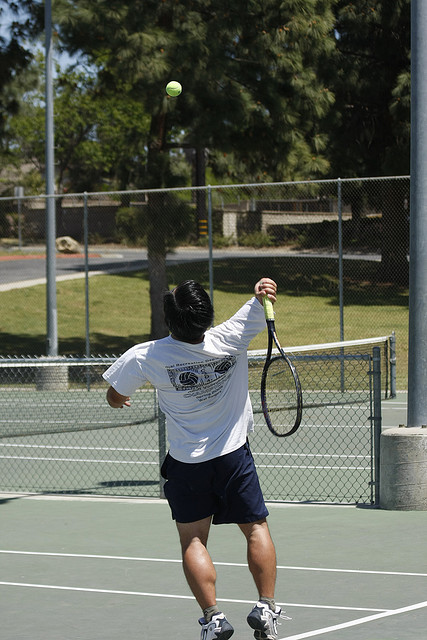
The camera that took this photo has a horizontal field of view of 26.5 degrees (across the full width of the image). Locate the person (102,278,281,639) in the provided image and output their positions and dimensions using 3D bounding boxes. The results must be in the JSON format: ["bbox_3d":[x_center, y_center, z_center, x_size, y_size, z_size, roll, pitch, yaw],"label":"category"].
[{"bbox_3d":[-0.003,0.647,3.950,0.566,1.646,0.836,-2,1,-36],"label":"person"}]

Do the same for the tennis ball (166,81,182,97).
[{"bbox_3d":[-0.719,-4.261,16.723,0.248,0.214,0.254,5,4,0],"label":"tennis ball"}]
